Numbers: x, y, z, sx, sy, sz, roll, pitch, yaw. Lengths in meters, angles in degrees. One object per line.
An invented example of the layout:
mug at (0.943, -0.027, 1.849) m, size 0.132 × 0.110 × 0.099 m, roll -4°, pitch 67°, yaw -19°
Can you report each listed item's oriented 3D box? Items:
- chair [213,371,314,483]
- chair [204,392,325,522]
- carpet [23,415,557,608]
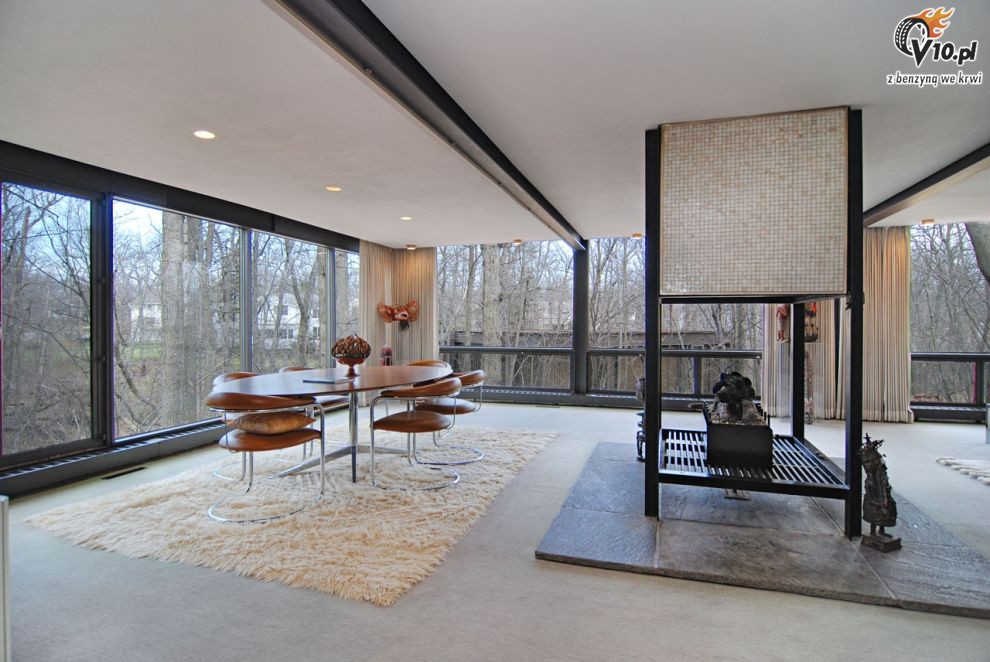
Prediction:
chair at (-1.851, 0.804, 4.998) m, size 0.747 × 0.708 × 0.786 m, roll -20°, pitch -11°, yaw 0°
chair at (-1.925, 0.916, 5.046) m, size 0.961 × 0.893 × 0.842 m, roll 2°, pitch 7°, yaw 44°
carpet at (-1.572, 1.419, 5.432) m, size 3.258 × 0.262 × 2.870 m, roll 2°, pitch 5°, yaw 17°
